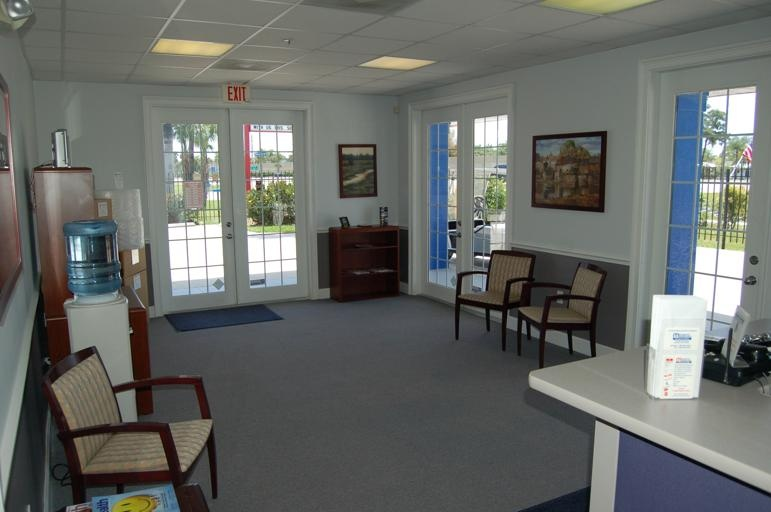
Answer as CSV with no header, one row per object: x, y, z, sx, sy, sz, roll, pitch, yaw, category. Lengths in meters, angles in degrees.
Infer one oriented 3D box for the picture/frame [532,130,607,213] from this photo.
2.307,-1.047,6.574,0.042,0.964,0.996,-7,11,-35,picture/frame

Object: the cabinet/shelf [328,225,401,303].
-0.404,0.130,9.242,1.279,1.274,0.427,-2,4,-24,cabinet/shelf

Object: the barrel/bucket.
-2.663,0.005,4.819,0.437,0.668,0.564,-9,16,-31,barrel/bucket

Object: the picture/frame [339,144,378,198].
-0.507,-1.483,9.184,0.908,1.106,0.074,-4,6,-33,picture/frame

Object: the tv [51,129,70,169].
-3.251,-1.068,5.314,0.158,0.347,0.361,-9,16,-30,tv

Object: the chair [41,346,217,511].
-1.680,1.170,4.277,1.277,1.435,1.047,0,10,-3,chair

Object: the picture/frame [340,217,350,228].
-0.703,-0.557,9.036,0.062,0.146,0.171,-23,3,31,picture/frame

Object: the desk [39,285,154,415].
-2.970,1.099,5.758,0.929,1.585,1.680,-3,9,-25,desk
